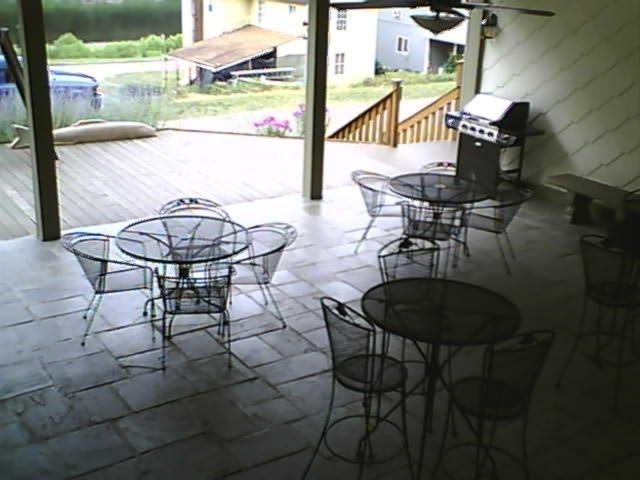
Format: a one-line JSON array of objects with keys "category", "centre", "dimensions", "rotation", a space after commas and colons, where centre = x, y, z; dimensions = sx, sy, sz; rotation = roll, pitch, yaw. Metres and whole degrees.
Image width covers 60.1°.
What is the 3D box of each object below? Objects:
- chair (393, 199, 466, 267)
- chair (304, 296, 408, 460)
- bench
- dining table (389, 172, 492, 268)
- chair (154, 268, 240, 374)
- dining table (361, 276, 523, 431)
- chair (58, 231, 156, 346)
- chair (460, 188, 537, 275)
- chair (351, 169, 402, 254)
[{"category": "chair", "centre": [1.279, -0.086, 6.142], "dimensions": [0.933, 0.917, 0.837], "rotation": [4, 18, 16]}, {"category": "chair", "centre": [0.310, 0.887, 3.773], "dimensions": [0.669, 1.131, 0.820], "rotation": [2, 24, 3]}, {"category": "bench", "centre": [3.566, -0.550, 7.291], "dimensions": [0.343, 0.246, 0.813], "rotation": [-32, 40, -28]}, {"category": "dining table", "centre": [1.188, -0.176, 6.113], "dimensions": [1.240, 0.740, 1.202], "rotation": [15, -10, -37]}, {"category": "chair", "centre": [-1.093, 0.539, 4.712], "dimensions": [0.623, 0.706, 0.529], "rotation": [-3, 32, -15]}, {"category": "dining table", "centre": [0.759, 0.891, 4.176], "dimensions": [1.291, 0.798, 1.135], "rotation": [-1, 29, -4]}, {"category": "chair", "centre": [-1.919, 0.471, 4.990], "dimensions": [0.822, 0.779, 0.705], "rotation": [-10, 34, -22]}, {"category": "chair", "centre": [2.035, -0.066, 6.353], "dimensions": [0.789, 0.764, 0.637], "rotation": [-33, 55, -22]}, {"category": "chair", "centre": [0.690, -0.308, 6.688], "dimensions": [0.931, 0.964, 0.772], "rotation": [-4, 39, 2]}]
